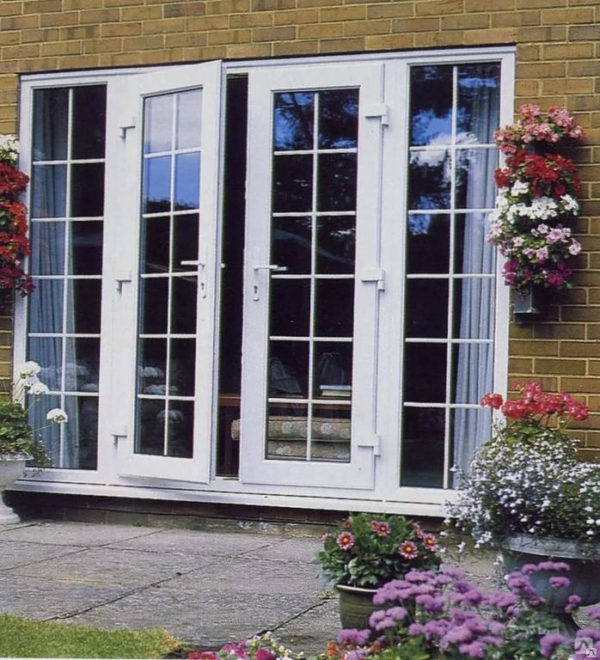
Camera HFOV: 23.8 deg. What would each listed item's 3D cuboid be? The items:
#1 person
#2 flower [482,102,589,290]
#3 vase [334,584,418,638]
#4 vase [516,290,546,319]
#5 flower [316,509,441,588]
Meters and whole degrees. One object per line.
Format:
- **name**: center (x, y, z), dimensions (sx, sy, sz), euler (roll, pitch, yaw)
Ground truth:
- **person**: center (0.051, 0.089, 7.032), dimensions (0.420, 0.677, 0.116), euler (0, 6, 16)
- **flower**: center (1.095, -0.610, 6.599), dimensions (0.443, 0.867, 0.289), euler (-1, 6, 10)
- **vase**: center (0.223, 1.021, 5.167), dimensions (0.248, 0.137, 0.219), euler (0, -10, 0)
- **vase**: center (1.052, -0.120, 6.643), dimensions (0.148, 0.117, 0.136), euler (1, -5, -11)
- **flower**: center (0.284, 0.808, 5.215), dimensions (0.346, 0.241, 0.353), euler (-5, 6, -36)
